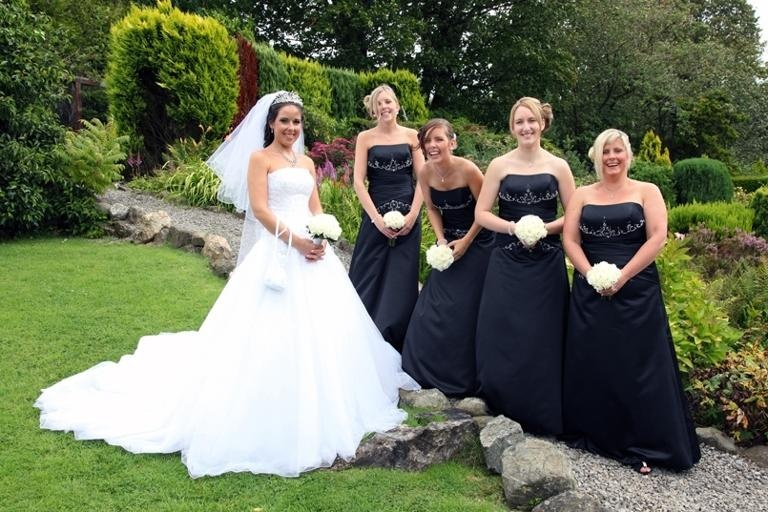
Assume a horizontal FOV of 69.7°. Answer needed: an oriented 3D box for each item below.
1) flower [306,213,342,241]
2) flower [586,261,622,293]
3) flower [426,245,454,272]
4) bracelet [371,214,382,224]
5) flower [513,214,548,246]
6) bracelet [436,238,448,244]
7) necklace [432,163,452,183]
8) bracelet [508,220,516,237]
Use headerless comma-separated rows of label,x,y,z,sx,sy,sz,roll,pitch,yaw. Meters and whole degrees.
flower,-0.618,-0.310,5.616,0.282,0.268,0.287,4,18,-36
flower,2.160,0.219,5.408,0.322,0.324,0.223,5,10,23
flower,0.644,0.011,6.207,0.267,0.289,0.170,-1,-16,6
bracelet,-0.079,-0.449,6.666,0.089,0.076,0.125,5,2,-3
flower,1.457,-0.265,5.638,0.292,0.312,0.310,1,48,-7
bracelet,0.667,-0.170,6.339,0.073,0.066,0.076,4,-1,28
necklace,0.653,-0.920,6.230,0.147,0.208,0.105,-5,15,10
bracelet,1.353,-0.273,5.791,0.056,0.118,0.088,3,10,15
